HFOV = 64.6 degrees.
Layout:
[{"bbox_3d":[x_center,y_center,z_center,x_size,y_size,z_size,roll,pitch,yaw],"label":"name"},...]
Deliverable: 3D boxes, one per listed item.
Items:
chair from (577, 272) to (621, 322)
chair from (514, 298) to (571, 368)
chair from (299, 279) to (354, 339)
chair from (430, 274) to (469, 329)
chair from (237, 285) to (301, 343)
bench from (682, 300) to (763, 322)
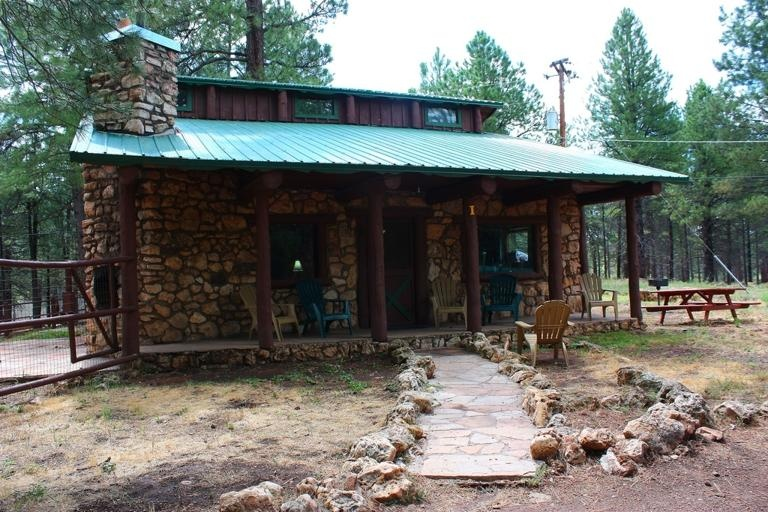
[{"bbox_3d":[5.162,0.960,14.833,0.858,1.012,0.830,-3,-2,7],"label":"chair"},{"bbox_3d":[3.089,1.438,11.696,0.985,1.162,0.922,0,2,-12],"label":"chair"},{"bbox_3d":[-1.205,1.103,13.382,1.065,1.187,1.397,0,0,-38],"label":"chair"},{"bbox_3d":[1.529,1.050,14.572,0.827,1.209,1.327,-4,0,5],"label":"chair"},{"bbox_3d":[-2.497,1.184,13.160,1.202,1.212,1.550,-4,0,-16],"label":"chair"},{"bbox_3d":[8.388,1.394,15.428,1.615,0.468,0.802,-3,0,-5],"label":"bench"}]
